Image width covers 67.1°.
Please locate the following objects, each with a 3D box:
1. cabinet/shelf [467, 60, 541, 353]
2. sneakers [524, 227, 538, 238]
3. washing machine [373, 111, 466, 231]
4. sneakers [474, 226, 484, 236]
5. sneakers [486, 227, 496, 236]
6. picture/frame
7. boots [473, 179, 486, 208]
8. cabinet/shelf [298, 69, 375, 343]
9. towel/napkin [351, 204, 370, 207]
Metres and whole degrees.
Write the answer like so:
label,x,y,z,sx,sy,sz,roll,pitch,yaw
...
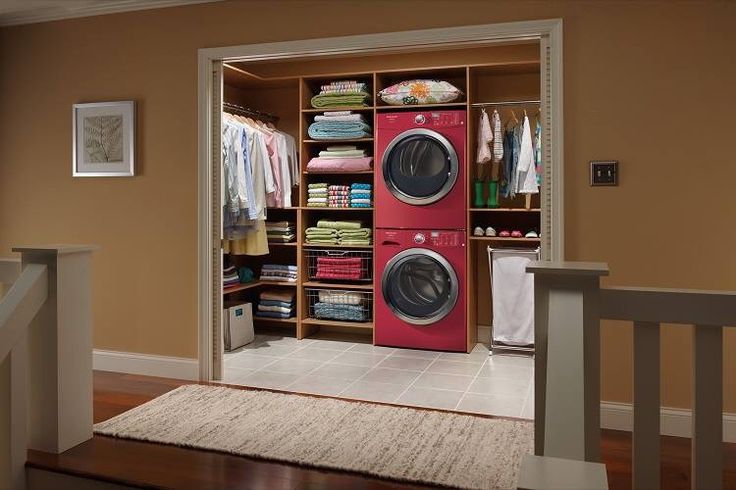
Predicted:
label,x,y,z,sx,sy,sz,roll,pitch,yaw
cabinet/shelf,1.317,-0.355,5.463,0.740,2.746,0.701,4,9,17
sneakers,1.579,-0.115,5.359,0.067,0.073,0.189,-1,-4,13
washing machine,0.528,-0.703,5.892,1.155,1.538,1.053,0,-1,11
sneakers,1.072,-0.139,5.411,0.096,0.098,0.254,-1,-2,12
sneakers,1.189,-0.133,5.390,0.088,0.086,0.244,0,-3,13
picture/frame,-2.234,-0.915,4.728,0.669,0.679,0.051,1,1,18
boots,1.111,-0.521,5.559,0.112,0.259,0.384,3,9,12
cabinet/shelf,-0.330,-0.402,5.868,0.820,2.742,0.833,1,9,2
towel/napkin,-0.084,-0.408,5.677,0.191,0.043,0.082,1,9,-2
